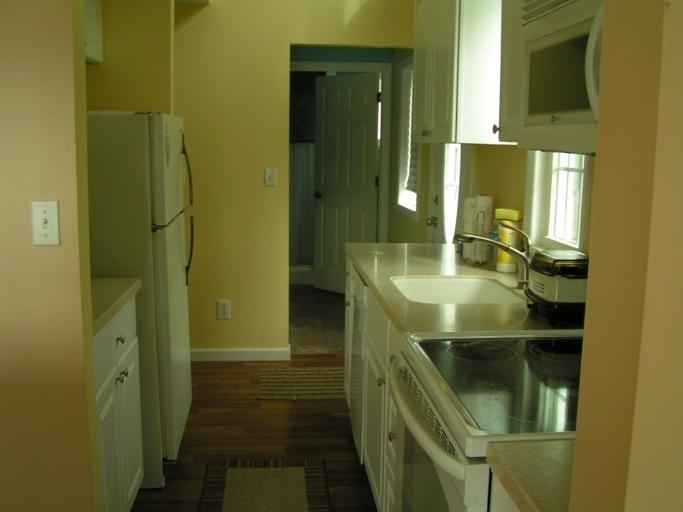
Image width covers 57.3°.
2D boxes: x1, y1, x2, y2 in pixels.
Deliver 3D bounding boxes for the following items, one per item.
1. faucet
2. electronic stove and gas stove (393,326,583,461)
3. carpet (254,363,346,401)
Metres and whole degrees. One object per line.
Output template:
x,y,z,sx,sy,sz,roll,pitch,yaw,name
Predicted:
0.615,-0.026,2.579,0.302,0.245,0.566,4,12,13,faucet
0.462,0.344,1.624,0.557,0.135,0.590,0,12,-8,electronic stove and gas stove
-0.265,0.790,3.940,0.545,0.014,0.541,1,12,-4,carpet
